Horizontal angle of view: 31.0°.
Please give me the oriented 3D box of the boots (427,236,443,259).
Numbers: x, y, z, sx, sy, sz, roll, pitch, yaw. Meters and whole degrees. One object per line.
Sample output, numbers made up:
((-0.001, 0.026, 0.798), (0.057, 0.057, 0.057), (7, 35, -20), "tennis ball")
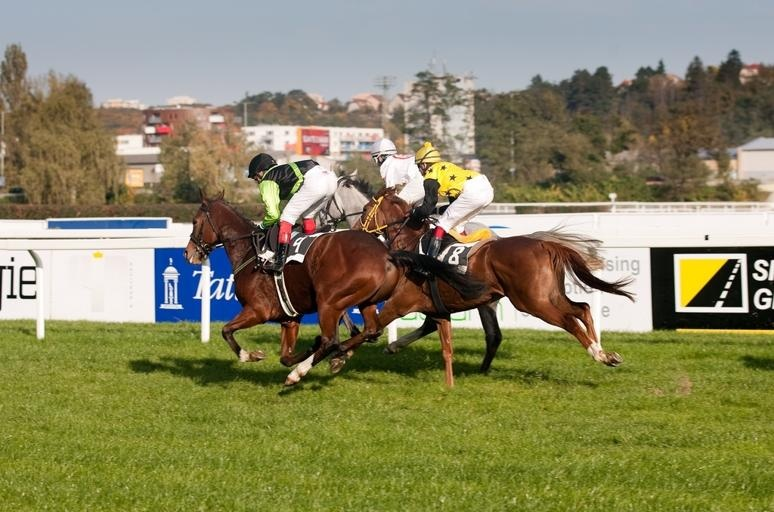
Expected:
((0.741, -0.137, 21.740), (0.149, 0.365, 0.164), (24, -9, 23), "boots")

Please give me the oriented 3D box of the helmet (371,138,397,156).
((-0.060, -1.757, 22.727), (0.368, 0.273, 0.265), (-21, 26, -28), "helmet")

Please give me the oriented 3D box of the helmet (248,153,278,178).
((-1.989, -1.440, 21.970), (0.482, 0.272, 0.320), (-20, 11, 5), "helmet")
